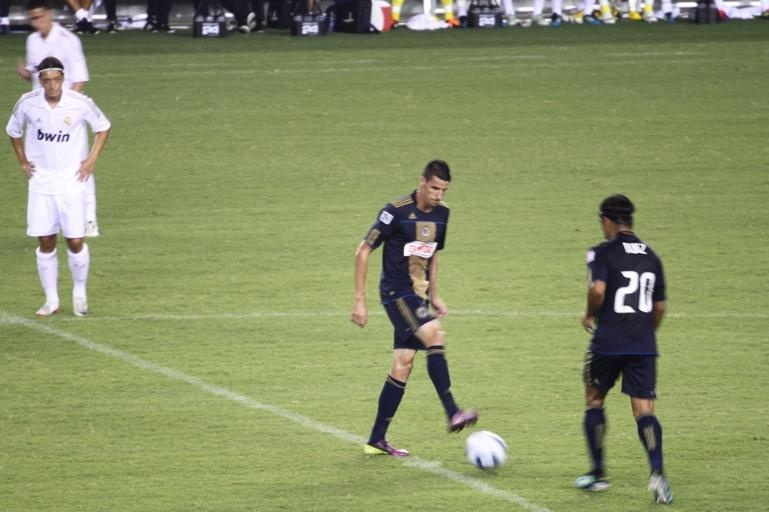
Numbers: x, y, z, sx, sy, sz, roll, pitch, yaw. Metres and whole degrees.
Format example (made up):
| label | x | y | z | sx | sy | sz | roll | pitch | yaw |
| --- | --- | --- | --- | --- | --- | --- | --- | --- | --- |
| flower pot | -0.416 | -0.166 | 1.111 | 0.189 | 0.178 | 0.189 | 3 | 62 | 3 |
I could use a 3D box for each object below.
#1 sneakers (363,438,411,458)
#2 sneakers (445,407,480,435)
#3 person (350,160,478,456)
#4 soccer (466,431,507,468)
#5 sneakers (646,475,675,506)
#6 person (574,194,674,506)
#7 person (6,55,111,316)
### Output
| label | x | y | z | sx | sy | sz | roll | pitch | yaw |
| --- | --- | --- | --- | --- | --- | --- | --- | --- | --- |
| sneakers | 0.019 | 2.076 | 18.928 | 0.578 | 0.170 | 0.177 | 1 | 0 | 1 |
| sneakers | 0.859 | 1.745 | 18.632 | 0.440 | 0.177 | 0.147 | -23 | 34 | 19 |
| person | 0.282 | 0.534 | 18.926 | 1.227 | 3.196 | 0.932 | -2 | 9 | -3 |
| soccer | 1.111 | 2.063 | 18.738 | 0.444 | 0.415 | 0.188 | -1 | 9 | 3 |
| sneakers | 2.966 | 2.405 | 18.352 | 0.260 | 0.339 | 0.258 | 0 | 8 | 6 |
| person | 2.574 | 0.949 | 18.424 | 1.010 | 3.216 | 0.787 | 0 | 9 | 8 |
| person | -4.048 | -0.870 | 21.155 | 1.185 | 3.142 | 0.520 | -3 | 9 | -8 |
